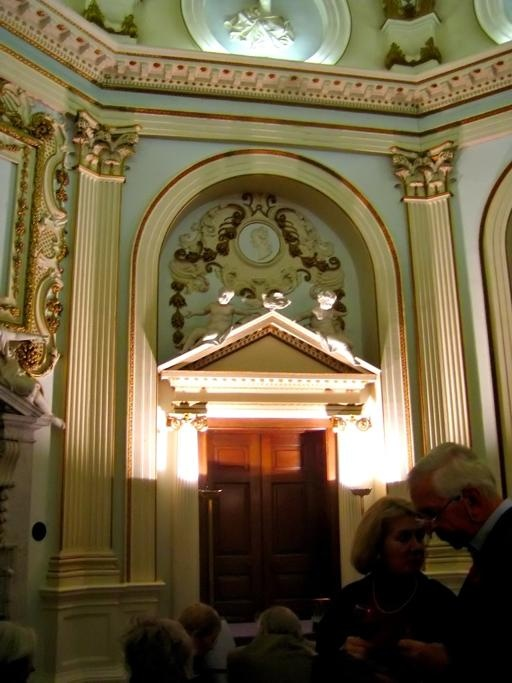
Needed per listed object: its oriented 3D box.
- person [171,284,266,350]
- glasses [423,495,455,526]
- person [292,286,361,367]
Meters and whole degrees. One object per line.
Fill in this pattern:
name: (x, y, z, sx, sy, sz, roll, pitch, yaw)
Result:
person: (-0.315, -0.248, 7.107, 0.819, 0.707, 0.471, -11, -22, 27)
glasses: (0.454, 0.433, 1.630, 0.088, 0.027, 0.069, -32, 2, -35)
person: (0.752, -0.115, 7.295, 0.608, 0.871, 0.564, 0, -16, -5)
